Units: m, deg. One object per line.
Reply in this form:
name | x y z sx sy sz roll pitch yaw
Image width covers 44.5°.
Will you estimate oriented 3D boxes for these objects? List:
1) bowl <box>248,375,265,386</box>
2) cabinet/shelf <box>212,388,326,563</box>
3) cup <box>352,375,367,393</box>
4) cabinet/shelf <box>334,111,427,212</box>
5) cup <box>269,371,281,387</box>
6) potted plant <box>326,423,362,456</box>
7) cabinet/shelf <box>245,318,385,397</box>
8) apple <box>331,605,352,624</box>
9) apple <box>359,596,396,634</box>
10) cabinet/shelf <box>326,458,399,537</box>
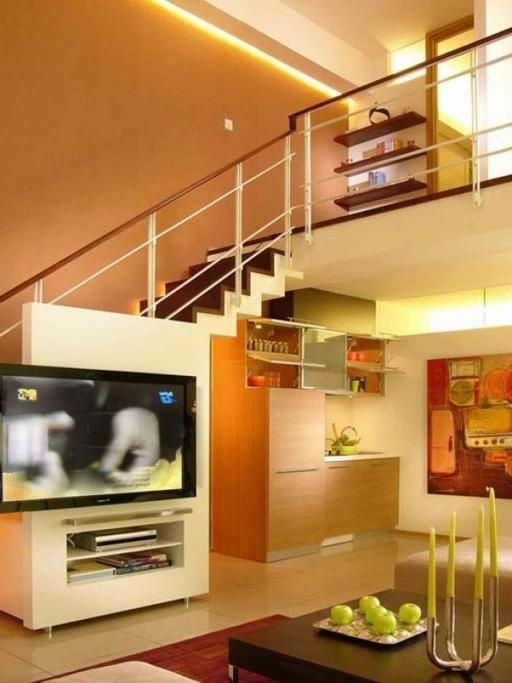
bowl | 0.006 0.354 5.509 0.107 0.076 0.108 -1 -4 0
cabinet/shelf | 0.226 1.310 5.688 1.032 1.725 0.975 -21 -28 41
cup | 1.145 0.457 6.733 0.171 0.253 0.169 -1 -6 0
cabinet/shelf | 1.357 -2.125 7.065 0.731 1.146 1.166 -1 -3 -38
cup | 0.174 0.357 5.797 0.059 0.136 0.187 -4 -3 30
potted plant | 0.944 1.073 6.732 0.394 0.378 0.379 5 -9 -31
cabinet/shelf | 0.634 0.192 5.994 1.451 0.513 0.237 4 7 -23
apple | 0.293 0.933 2.150 0.059 0.055 0.059 -14 -6 13
apple | 0.404 0.907 2.066 0.071 0.049 0.122 2 -1 -21
cabinet/shelf | 1.016 1.553 6.180 0.493 0.617 0.885 -6 -8 43
